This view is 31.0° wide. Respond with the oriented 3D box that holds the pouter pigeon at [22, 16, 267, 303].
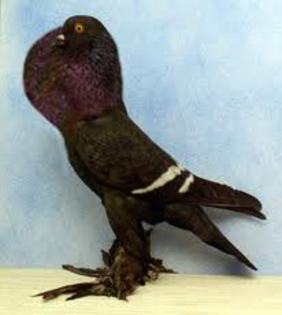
[{"bbox_3d":[0.025,-0.010,1.428,0.671,0.771,0.333,-1,9,-12],"label":"pouter pigeon"}]
